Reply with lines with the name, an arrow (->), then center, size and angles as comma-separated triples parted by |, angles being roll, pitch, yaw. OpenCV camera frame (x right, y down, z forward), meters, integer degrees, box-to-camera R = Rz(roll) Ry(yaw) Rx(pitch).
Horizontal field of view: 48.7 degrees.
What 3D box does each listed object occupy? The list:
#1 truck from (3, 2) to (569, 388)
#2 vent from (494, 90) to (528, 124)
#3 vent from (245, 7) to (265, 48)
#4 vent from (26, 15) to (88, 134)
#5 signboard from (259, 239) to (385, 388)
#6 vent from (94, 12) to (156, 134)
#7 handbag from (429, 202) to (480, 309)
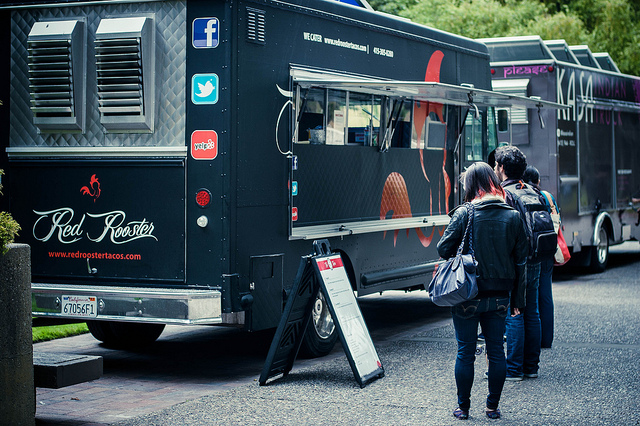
truck -> -0.388, -0.694, 10.351 | 3.996, 3.566, 6.698 | -1, 0, 39
vent -> 3.524, -1.959, 13.058 | 0.839, 0.961, 0.087 | -4, 4, -26
vent -> -0.772, -2.186, 8.340 | 0.052, 0.577, 0.472 | 1, 0, 31
vent -> -3.161, -1.679, 8.593 | 0.763, 1.427, 0.176 | 4, 6, 18
signboard -> 0.031, 1.144, 8.395 | 1.129, 1.717, 0.943 | -1, -1, 19
vent -> -2.269, -1.646, 8.352 | 0.711, 1.437, 0.236 | 4, 6, 18
handbag -> 1.314, 0.420, 7.078 | 0.331, 1.166, 0.551 | 24, -31, -33
